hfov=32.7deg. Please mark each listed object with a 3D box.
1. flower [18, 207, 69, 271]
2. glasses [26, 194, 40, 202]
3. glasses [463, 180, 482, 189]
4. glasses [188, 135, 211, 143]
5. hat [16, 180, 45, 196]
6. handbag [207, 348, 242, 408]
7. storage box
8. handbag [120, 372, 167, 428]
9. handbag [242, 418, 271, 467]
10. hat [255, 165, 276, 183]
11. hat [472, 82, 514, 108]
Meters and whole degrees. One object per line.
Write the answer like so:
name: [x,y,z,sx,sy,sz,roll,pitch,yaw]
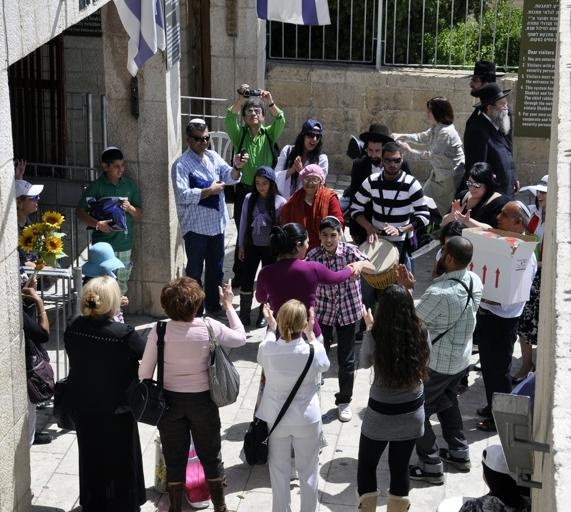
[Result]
flower: [-2.020,-0.057,8.191,0.400,0.432,0.331,-2,34,-2]
glasses: [-2.217,-0.511,8.563,0.108,0.061,0.156,-1,-1,-7]
glasses: [1.891,-0.714,9.749,0.154,0.052,0.151,-31,36,-26]
glasses: [-0.898,-1.219,10.165,0.132,0.062,0.180,-10,14,-28]
hat: [-2.219,-0.578,8.487,0.190,0.081,0.131,-4,24,0]
handbag: [-0.453,0.892,7.230,0.221,0.476,0.183,-2,9,-4]
storage box: [1.911,0.117,8.487,0.324,0.539,0.523,-1,5,-30]
handbag: [-1.022,1.052,7.174,0.245,0.350,0.343,17,23,-29]
handbag: [-0.206,1.396,7.346,0.196,0.387,0.184,-1,9,-1]
hat: [-0.188,-0.839,10.097,0.150,0.186,0.182,-5,8,16]
hat: [2.512,-1.882,11.959,0.386,0.147,0.366,-9,36,39]
